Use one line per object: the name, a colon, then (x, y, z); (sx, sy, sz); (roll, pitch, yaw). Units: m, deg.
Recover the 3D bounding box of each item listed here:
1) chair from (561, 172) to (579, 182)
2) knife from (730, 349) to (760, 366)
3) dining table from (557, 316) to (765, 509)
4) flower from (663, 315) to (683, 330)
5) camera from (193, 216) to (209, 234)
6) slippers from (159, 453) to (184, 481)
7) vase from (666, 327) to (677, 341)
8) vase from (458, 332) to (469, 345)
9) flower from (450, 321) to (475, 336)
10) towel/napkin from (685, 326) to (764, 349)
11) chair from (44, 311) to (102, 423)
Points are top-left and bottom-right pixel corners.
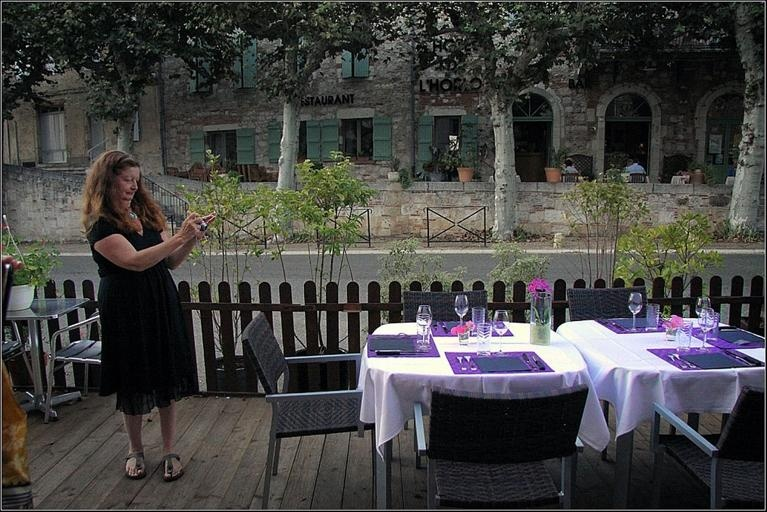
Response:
chair: (5.553, -2.358, 22.438); (0.344, 0.264, 0.363); (0, 10, 1)
knife: (4.269, 1.214, 8.829); (0.106, 0.061, 0.420); (-11, 21, 2)
dining table: (3.328, 1.665, 9.095); (1.783, 1.206, 2.189); (1, 2, -9)
flower: (3.546, 0.828, 9.227); (0.175, 0.195, 0.189); (18, 53, 39)
camera: (-2.210, -0.373, 9.080); (0.138, 0.085, 0.185); (4, 48, -6)
slippers: (-2.600, 2.585, 9.221); (0.188, 0.158, 0.385); (1, 0, -11)
vase: (3.510, 0.956, 9.219); (0.130, 0.247, 0.129); (-2, -3, 6)
vase: (0.969, 1.007, 9.166); (0.119, 0.122, 0.139); (0, -5, 2)
flower: (0.987, 0.898, 9.264); (0.175, 0.087, 0.211); (-23, -17, 22)
towel/napkin: (4.265, 1.018, 9.237); (0.458, 0.122, 0.328); (2, 21, 11)
chair: (-4.089, 1.392, 10.230); (0.728, 1.147, 0.844); (0, 7, 12)
